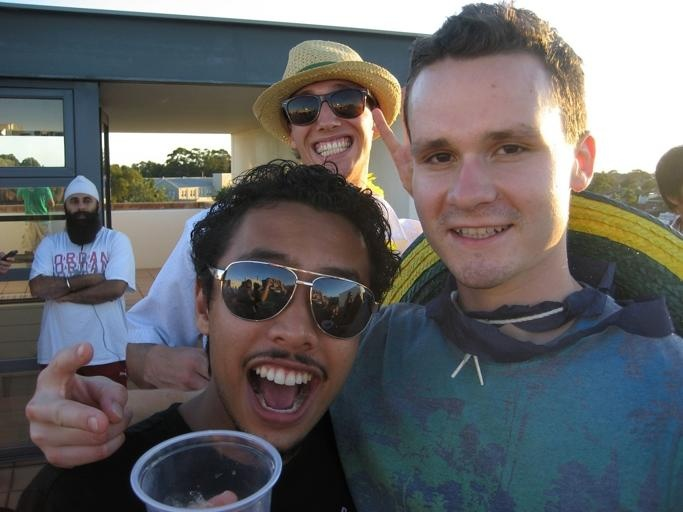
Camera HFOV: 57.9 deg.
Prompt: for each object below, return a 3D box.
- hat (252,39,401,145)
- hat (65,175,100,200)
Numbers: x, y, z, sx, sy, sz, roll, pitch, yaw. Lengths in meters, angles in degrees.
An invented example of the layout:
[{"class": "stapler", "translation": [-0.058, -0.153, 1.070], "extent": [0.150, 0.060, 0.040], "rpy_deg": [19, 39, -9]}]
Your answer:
[{"class": "hat", "translation": [-0.024, -1.089, 4.040], "extent": [0.680, 0.322, 0.817], "rpy_deg": [-26, -18, 13]}, {"class": "hat", "translation": [-2.618, -0.682, 6.211], "extent": [0.240, 0.195, 0.351], "rpy_deg": [-1, -4, -17]}]
